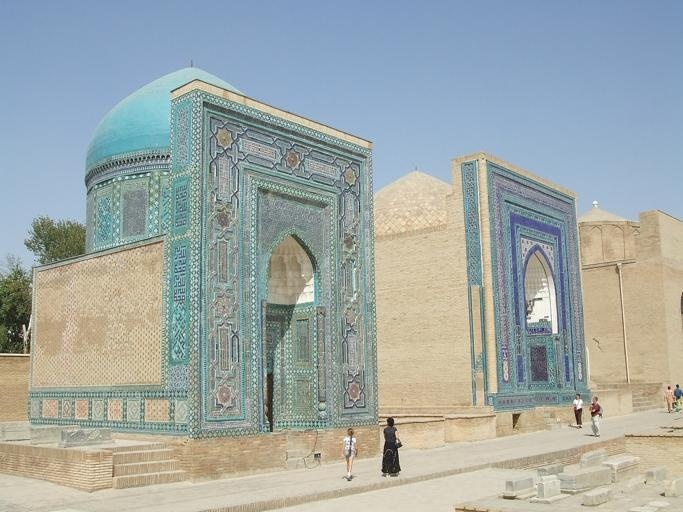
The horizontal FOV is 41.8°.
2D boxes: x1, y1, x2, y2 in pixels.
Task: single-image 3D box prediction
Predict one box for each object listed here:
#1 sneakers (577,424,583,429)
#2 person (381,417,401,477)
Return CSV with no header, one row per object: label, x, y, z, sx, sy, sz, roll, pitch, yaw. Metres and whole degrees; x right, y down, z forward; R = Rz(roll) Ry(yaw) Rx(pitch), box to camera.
sneakers,5.936,4.254,22.332,0.077,0.082,0.220,0,-2,9
person,0.834,3.256,15.289,0.335,0.994,0.558,-3,-16,1
